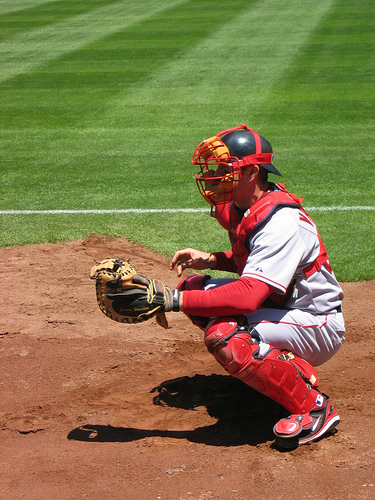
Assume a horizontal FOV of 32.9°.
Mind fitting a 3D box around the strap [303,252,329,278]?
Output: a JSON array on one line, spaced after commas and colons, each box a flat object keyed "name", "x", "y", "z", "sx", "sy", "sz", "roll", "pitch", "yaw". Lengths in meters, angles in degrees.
[{"name": "strap", "x": 0.645, "y": 0.076, "z": 3.193, "sx": 0.141, "sy": 0.049, "sz": 0.098, "roll": -29, "pitch": -1, "yaw": -21}]

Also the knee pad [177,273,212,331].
[{"name": "knee pad", "x": 0.053, "y": 0.316, "z": 3.508, "sx": 0.190, "sy": 0.341, "sz": 0.478, "roll": -7, "pitch": 13, "yaw": 1}]

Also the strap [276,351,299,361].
[{"name": "strap", "x": 0.500, "y": 0.530, "z": 3.187, "sx": 0.157, "sy": 0.028, "sz": 0.038, "roll": 1, "pitch": -5, "yaw": -45}]

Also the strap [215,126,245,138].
[{"name": "strap", "x": 0.230, "y": -0.615, "z": 3.302, "sx": 0.129, "sy": 0.036, "sz": 0.093, "roll": -24, "pitch": 17, "yaw": -2}]

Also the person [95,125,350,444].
[{"name": "person", "x": 0.056, "y": 0.180, "z": 3.392, "sx": 1.200, "sy": 1.583, "sz": 1.603, "roll": 3, "pitch": 3, "yaw": 34}]

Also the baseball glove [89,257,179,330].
[{"name": "baseball glove", "x": -0.221, "y": 0.209, "z": 3.169, "sx": 0.597, "sy": 0.180, "sz": 0.321, "roll": 12, "pitch": 19, "yaw": 34}]

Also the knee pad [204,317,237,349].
[{"name": "knee pad", "x": 0.155, "y": 0.404, "z": 3.145, "sx": 0.179, "sy": 0.079, "sz": 0.126, "roll": -28, "pitch": 3, "yaw": -23}]

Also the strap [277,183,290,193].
[{"name": "strap", "x": 0.518, "y": -0.326, "z": 3.396, "sx": 0.053, "sy": 0.038, "sz": 0.149, "roll": 12, "pitch": 15, "yaw": -3}]

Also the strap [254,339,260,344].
[{"name": "strap", "x": 0.340, "y": 0.452, "z": 3.148, "sx": 0.029, "sy": 0.009, "sz": 0.034, "roll": 1, "pitch": 4, "yaw": 13}]

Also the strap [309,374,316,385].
[{"name": "strap", "x": 0.631, "y": 0.652, "z": 3.212, "sx": 0.037, "sy": 0.038, "sz": 0.011, "roll": 8, "pitch": -14, "yaw": -2}]

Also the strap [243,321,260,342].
[{"name": "strap", "x": 0.315, "y": 0.410, "z": 3.194, "sx": 0.049, "sy": 0.086, "sz": 0.065, "roll": -51, "pitch": 12, "yaw": -13}]
